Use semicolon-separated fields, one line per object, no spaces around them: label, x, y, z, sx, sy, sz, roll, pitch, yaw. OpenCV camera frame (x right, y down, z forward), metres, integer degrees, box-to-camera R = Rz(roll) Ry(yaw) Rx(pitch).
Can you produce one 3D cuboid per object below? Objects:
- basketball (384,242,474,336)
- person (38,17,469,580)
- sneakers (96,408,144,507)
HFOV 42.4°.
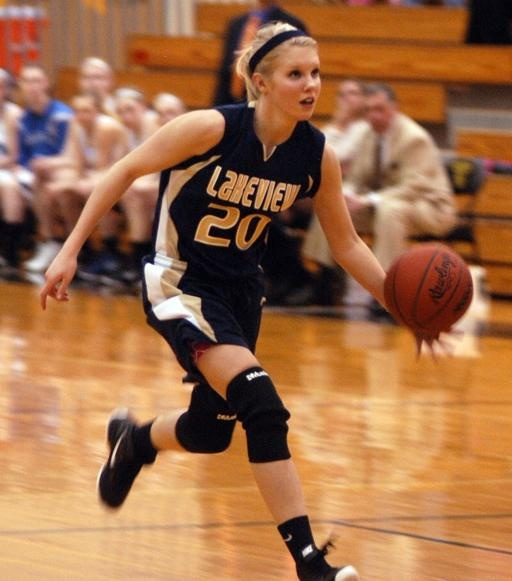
basketball;0.364;0.000;1.557;0.237;0.212;0.207;10;-4;-9
person;0.027;0.022;2.118;1.376;1.408;1.012;-3;-7;37
sneakers;-0.335;0.423;1.669;0.090;0.097;0.227;23;34;-15
